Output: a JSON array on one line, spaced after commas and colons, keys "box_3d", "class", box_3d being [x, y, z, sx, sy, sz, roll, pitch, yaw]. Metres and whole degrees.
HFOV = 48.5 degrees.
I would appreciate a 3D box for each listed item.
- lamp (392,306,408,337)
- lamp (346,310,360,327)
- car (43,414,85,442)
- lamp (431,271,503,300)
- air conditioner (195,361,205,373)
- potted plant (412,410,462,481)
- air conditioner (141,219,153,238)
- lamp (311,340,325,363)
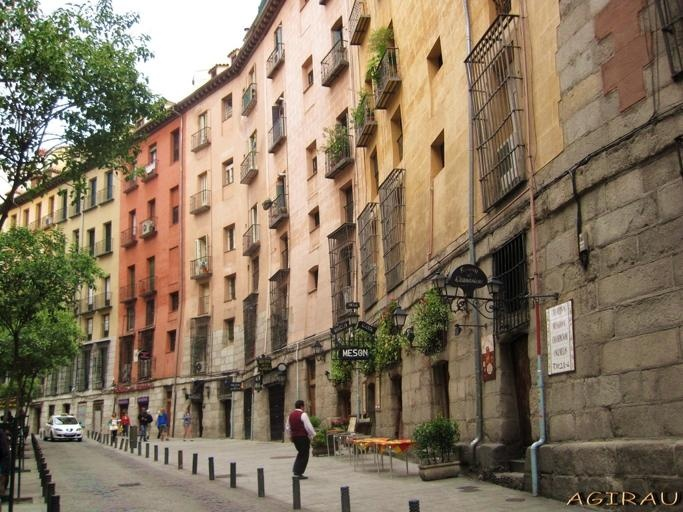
[{"box_3d": [1.634, 1.705, 20.858, 0.584, 0.920, 0.613, 1, -5, -12], "class": "lamp"}, {"box_3d": [0.400, 2.006, 24.514, 0.354, 0.488, 0.386, 6, -5, -4], "class": "lamp"}, {"box_3d": [-15.130, 9.335, 41.214, 1.229, 1.169, 2.597, 8, -20, -27], "class": "car"}, {"box_3d": [2.753, 0.568, 16.582, 1.477, 0.811, 0.579, -6, -21, 14], "class": "lamp"}, {"box_3d": [-7.956, 6.207, 42.513, 0.464, 0.529, 0.180, -5, -1, -4], "class": "air conditioner"}, {"box_3d": [2.214, 4.407, 17.382, 1.099, 1.278, 0.865, -6, -13, -1], "class": "potted plant"}, {"box_3d": [-12.526, -1.804, 49.021, 0.306, 0.889, 0.955, 9, -17, -34], "class": "air conditioner"}, {"box_3d": [-0.840, 3.600, 28.851, 0.645, 1.052, 0.569, 1, -5, -1], "class": "lamp"}]
